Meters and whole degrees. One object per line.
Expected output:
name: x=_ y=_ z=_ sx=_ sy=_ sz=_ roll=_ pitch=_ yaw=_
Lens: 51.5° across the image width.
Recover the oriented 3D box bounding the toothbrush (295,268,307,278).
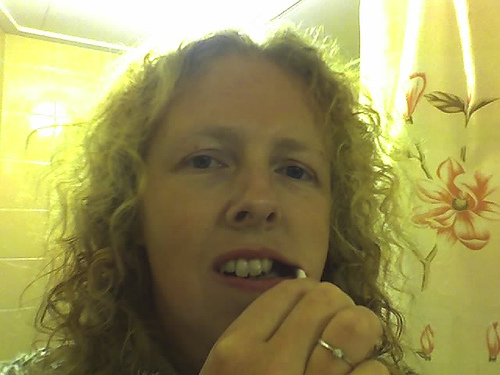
toothbrush: x=0.093 y=0.150 z=0.914 sx=0.023 sy=0.016 sz=0.015 roll=4 pitch=-13 yaw=-18
